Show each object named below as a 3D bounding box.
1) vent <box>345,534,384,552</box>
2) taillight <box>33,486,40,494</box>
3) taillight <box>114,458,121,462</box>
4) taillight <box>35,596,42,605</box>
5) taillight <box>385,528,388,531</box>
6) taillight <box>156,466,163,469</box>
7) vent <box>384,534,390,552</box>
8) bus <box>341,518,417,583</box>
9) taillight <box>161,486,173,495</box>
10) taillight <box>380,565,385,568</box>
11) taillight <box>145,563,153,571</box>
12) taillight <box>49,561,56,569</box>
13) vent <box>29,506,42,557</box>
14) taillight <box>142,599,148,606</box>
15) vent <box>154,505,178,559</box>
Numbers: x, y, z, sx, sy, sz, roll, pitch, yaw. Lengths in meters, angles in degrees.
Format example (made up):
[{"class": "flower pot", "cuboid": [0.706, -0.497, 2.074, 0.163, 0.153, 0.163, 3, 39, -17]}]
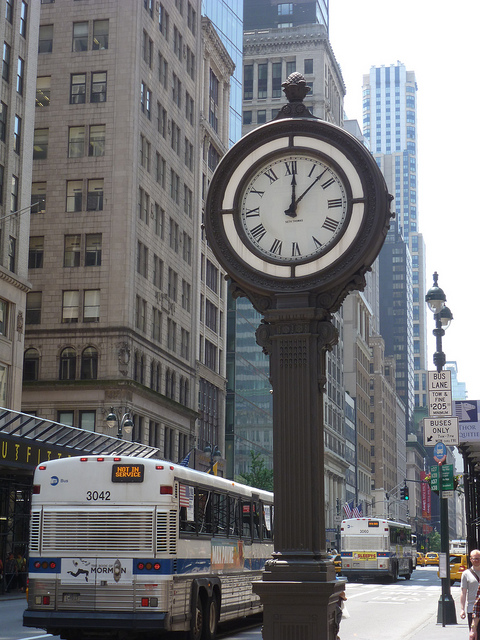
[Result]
[{"class": "vent", "cuboid": [5.656, 9.951, 50.015, 1.716, 0.834, 0.306, -5, -15, 6]}, {"class": "taillight", "cuboid": [-3.273, 2.714, 17.965, 0.133, 0.150, 0.102, 3, -6, -14]}, {"class": "taillight", "cuboid": [-1.922, 2.185, 17.551, 0.066, 0.018, 0.055, 3, -46, -4]}, {"class": "taillight", "cuboid": [-3.116, 4.321, 17.269, 0.092, 0.150, 0.014, -1, -10, 11]}, {"class": "taillight", "cuboid": [6.633, 9.362, 50.128, 0.049, 0.116, 0.210, -12, -19, 33]}, {"class": "taillight", "cuboid": [-1.244, 2.275, 17.299, 0.104, 0.045, 0.023, -6, -15, 11]}, {"class": "vent", "cuboid": [6.673, 9.996, 50.192, 0.181, 0.764, 0.663, -8, -17, 23]}, {"class": "bus", "cuboid": [6.900, 10.996, 53.793, 2.783, 3.083, 7.838, -3, -11, 19]}, {"class": "taillight", "cuboid": [-1.135, 2.600, 17.249, 0.178, 0.157, 0.107, 0, -6, 15]}, {"class": "taillight", "cuboid": [6.411, 10.950, 49.854, 0.200, 0.116, 0.035, -3, -14, 2]}, {"class": "taillight", "cuboid": [-1.382, 3.738, 16.984, 0.092, 0.111, 0.024, -2, -1, 11]}, {"class": "taillight", "cuboid": [-2.932, 3.810, 17.433, 0.103, 0.115, 0.025, -5, -15, 11]}, {"class": "vent", "cuboid": [-3.251, 3.316, 17.885, 0.282, 1.029, 0.218, 2, 13, -9]}, {"class": "taillight", "cuboid": [-1.418, 4.220, 16.758, 0.081, 0.111, 0.011, -1, -12, 7]}, {"class": "vent", "cuboid": [-1.122, 3.282, 17.365, 0.439, 0.817, 0.493, 3, -8, -20]}]
